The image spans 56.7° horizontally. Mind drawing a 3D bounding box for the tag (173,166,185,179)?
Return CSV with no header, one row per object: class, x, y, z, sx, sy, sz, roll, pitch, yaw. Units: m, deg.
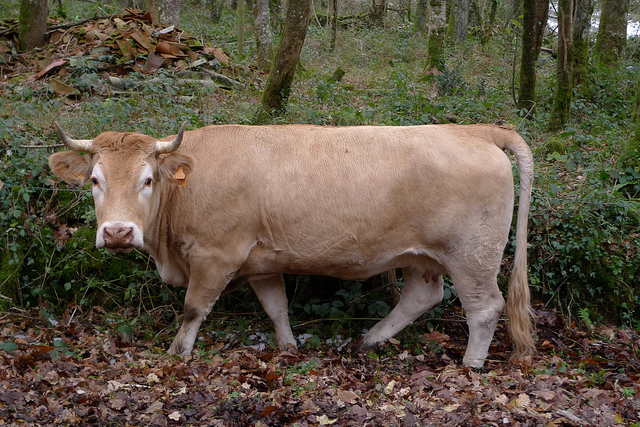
tag,-1.795,-0.525,7.608,0.141,0.186,0.013,7,3,11
